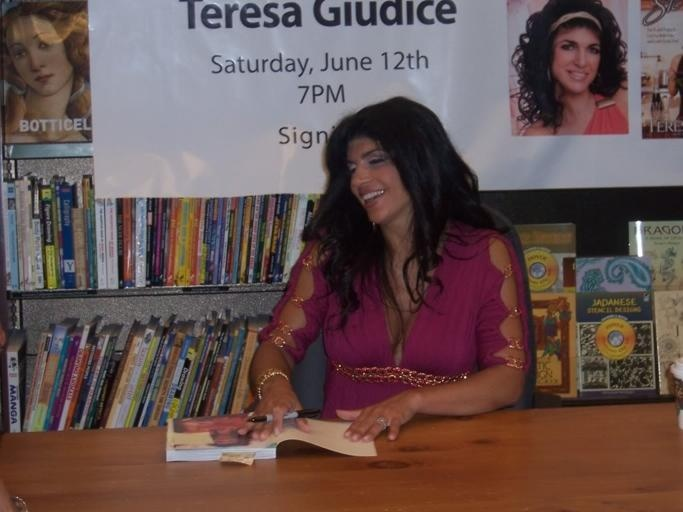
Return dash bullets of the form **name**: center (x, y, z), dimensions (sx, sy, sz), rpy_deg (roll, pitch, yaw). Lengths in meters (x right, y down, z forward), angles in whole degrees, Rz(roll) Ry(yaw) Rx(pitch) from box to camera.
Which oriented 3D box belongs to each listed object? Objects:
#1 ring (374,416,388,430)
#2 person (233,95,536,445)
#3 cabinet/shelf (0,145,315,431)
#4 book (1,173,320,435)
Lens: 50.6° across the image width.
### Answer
- **ring**: center (0.103, 0.435, 1.898), dimensions (0.031, 0.012, 0.024), rpy_deg (45, 27, 24)
- **person**: center (0.142, -0.015, 2.340), dimensions (0.900, 1.101, 0.667), rpy_deg (-1, -4, 15)
- **cabinet/shelf**: center (-0.700, 0.107, 2.770), dimensions (0.987, 0.976, 0.353), rpy_deg (-3, 7, -15)
- **book**: center (-0.687, 0.164, 2.743), dimensions (0.906, 0.898, 0.313), rpy_deg (-2, 6, -6)
